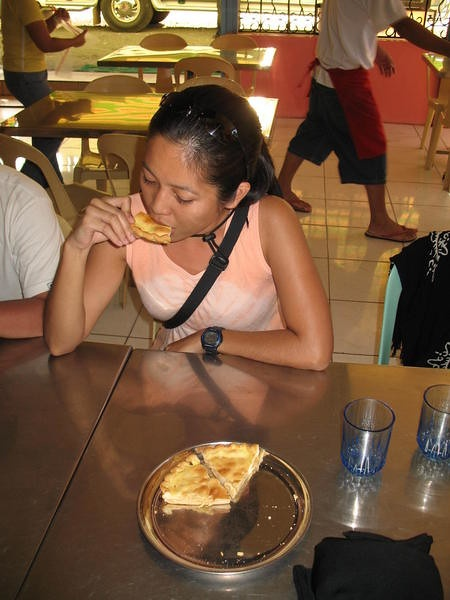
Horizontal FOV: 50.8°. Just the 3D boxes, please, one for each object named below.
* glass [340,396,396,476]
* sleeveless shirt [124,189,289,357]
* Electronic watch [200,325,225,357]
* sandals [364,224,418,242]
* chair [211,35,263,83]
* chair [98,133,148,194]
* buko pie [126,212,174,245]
[{"bbox_3d":[0.246,0.241,0.816,0.093,0.091,0.129,3,76,16],"label":"glass"},{"bbox_3d":[-0.037,-0.080,1.281,0.343,0.427,0.238,-18,28,3],"label":"sleeveless shirt"},{"bbox_3d":[-0.032,0.103,1.226,0.046,0.070,0.068,14,71,10],"label":"Electronic watch"},{"bbox_3d":[1.320,-0.522,3.715,0.325,0.074,0.190,4,32,15],"label":"sandals"},{"bbox_3d":[0.107,-2.770,5.344,0.323,0.354,0.246,4,62,3],"label":"chair"},{"bbox_3d":[-0.811,-0.938,3.496,0.289,0.354,0.299,-2,3,-29],"label":"chair"},{"bbox_3d":[-0.180,-0.167,1.152,0.086,0.026,0.085,30,71,16],"label":"buko pie"}]
